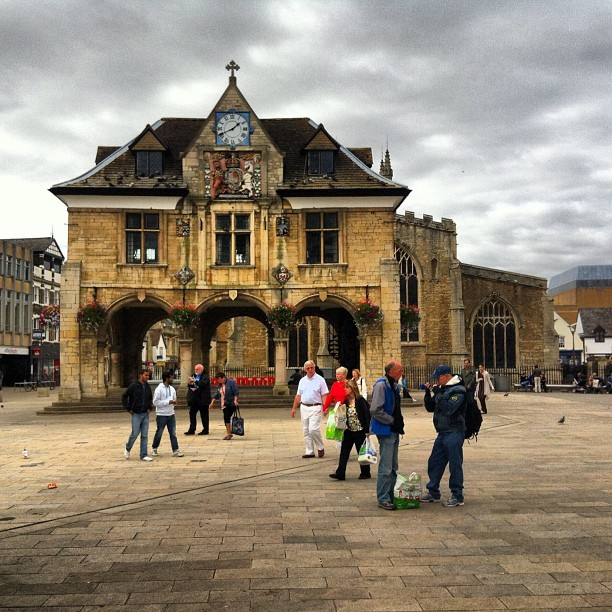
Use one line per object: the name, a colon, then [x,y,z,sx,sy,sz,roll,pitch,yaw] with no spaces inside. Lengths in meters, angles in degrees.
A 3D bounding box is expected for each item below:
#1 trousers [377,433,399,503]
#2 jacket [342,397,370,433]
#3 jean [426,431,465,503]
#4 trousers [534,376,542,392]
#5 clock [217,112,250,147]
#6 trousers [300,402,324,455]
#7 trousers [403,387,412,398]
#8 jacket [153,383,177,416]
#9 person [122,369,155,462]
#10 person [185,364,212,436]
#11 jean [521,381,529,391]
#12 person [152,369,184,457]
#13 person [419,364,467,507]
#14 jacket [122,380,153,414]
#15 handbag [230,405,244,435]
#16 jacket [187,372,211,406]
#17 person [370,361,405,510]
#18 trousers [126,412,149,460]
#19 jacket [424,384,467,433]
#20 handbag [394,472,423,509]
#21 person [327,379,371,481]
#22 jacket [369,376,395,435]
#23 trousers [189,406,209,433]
trousers: [1.039,2.040,11.742,0.280,0.837,0.480,-1,-4,4]
jacket: [0.749,1.625,13.743,0.510,0.594,0.297,0,4,42]
jean: [1.838,2.040,11.872,0.320,0.887,0.638,1,-4,-27]
trousers: [10.732,3.572,42.713,0.452,0.681,0.223,3,-5,-44]
clock: [-2.426,-5.733,30.116,1.022,1.145,0.141,0,-8,-4]
trousers: [0.102,2.128,16.248,0.480,1.004,0.509,0,-13,-5]
trousers: [3.437,2.928,31.485,0.221,0.355,0.918,-1,-4,6]
jacket: [-2.599,1.695,16.866,0.395,0.596,0.448,0,-4,-12]
person: [-3.007,1.924,16.528,0.554,1.576,1.696,0,-4,-11]
person: [-2.453,2.107,20.859,0.564,1.562,1.784,-1,-4,-7]
jean: [10.467,3.722,43.954,0.305,0.375,0.365,-4,-29,13]
person: [-2.625,1.974,17.426,0.557,1.535,1.991,0,-4,-10]
person: [1.794,1.645,11.943,0.581,1.774,0.778,0,-4,-10]
jacket: [-3.015,1.610,16.427,0.500,0.566,0.462,0,-4,-12]
handbag: [-1.416,2.434,18.919,0.227,0.327,0.415,-1,-4,-7]
jacket: [-2.383,1.855,20.759,0.589,0.910,0.617,7,-15,-29]
person: [1.037,1.620,11.849,0.414,1.827,0.839,-1,-4,8]
trousers: [-2.975,2.269,16.237,0.361,0.802,0.509,0,-4,-12]
jacket: [1.809,1.317,11.897,0.535,0.607,0.409,-2,-4,13]
handbag: [1.276,2.318,11.558,0.388,0.565,0.281,2,-1,-1]
person: [0.637,1.834,13.836,0.633,1.473,0.629,-1,-4,1]
jacket: [0.994,1.287,11.957,0.324,0.728,0.367,-1,-4,-2]
trousers: [-2.442,2.562,21.048,0.436,0.620,1.140,-1,-4,-7]
